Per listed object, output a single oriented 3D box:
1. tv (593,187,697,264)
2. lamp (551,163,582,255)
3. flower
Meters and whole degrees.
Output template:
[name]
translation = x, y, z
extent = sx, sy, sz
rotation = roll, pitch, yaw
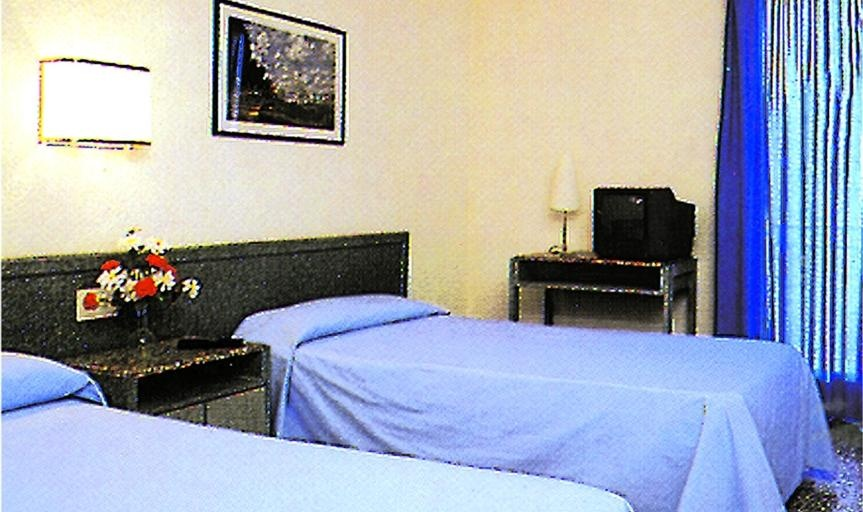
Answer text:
[tv]
translation = 1.679, -0.233, 5.683
extent = 0.975, 0.693, 0.537
rotation = 1, 1, 37
[lamp]
translation = 1.107, -0.442, 5.928
extent = 0.242, 0.791, 0.240
rotation = 1, 9, 9
[flower]
translation = -1.652, 0.123, 4.044
extent = 0.523, 0.500, 0.175
rotation = -46, 7, -27
